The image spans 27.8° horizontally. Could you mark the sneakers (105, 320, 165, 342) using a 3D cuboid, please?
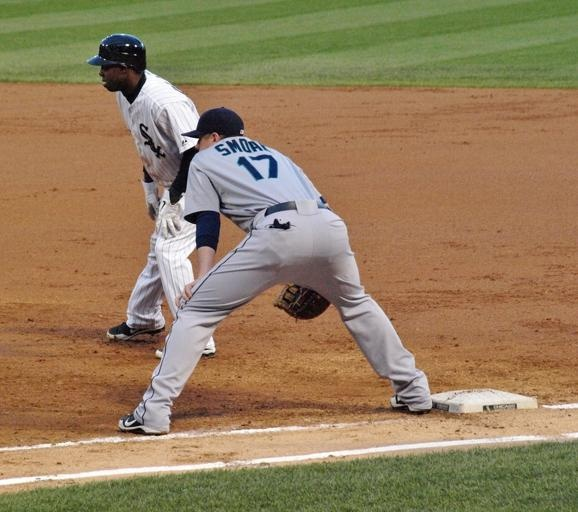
[{"bbox_3d":[-1.380,0.675,10.559,0.551,0.213,0.196,0,13,-7],"label":"sneakers"}]

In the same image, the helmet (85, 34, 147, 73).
[{"bbox_3d":[-1.400,-1.694,9.665,0.543,0.248,0.361,2,22,-9],"label":"helmet"}]

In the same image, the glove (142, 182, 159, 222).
[{"bbox_3d":[-1.207,-0.483,10.238,0.117,0.414,0.130,-5,21,10],"label":"glove"}]

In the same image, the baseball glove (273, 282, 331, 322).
[{"bbox_3d":[0.140,0.338,8.833,0.451,0.137,0.303,-1,31,18],"label":"baseball glove"}]

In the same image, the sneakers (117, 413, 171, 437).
[{"bbox_3d":[-1.080,1.228,8.663,0.405,0.166,0.147,7,6,6],"label":"sneakers"}]

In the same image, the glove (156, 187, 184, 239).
[{"bbox_3d":[-1.001,-0.338,9.846,0.276,0.369,0.123,-20,16,-30],"label":"glove"}]

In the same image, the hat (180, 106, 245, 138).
[{"bbox_3d":[-0.547,-0.993,8.720,0.391,0.178,0.222,2,11,6],"label":"hat"}]

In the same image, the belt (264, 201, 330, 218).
[{"bbox_3d":[0.075,-0.344,8.414,0.500,0.120,0.140,-3,10,-28],"label":"belt"}]

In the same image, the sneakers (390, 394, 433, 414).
[{"bbox_3d":[0.925,1.148,9.033,0.333,0.141,0.129,14,16,37],"label":"sneakers"}]
